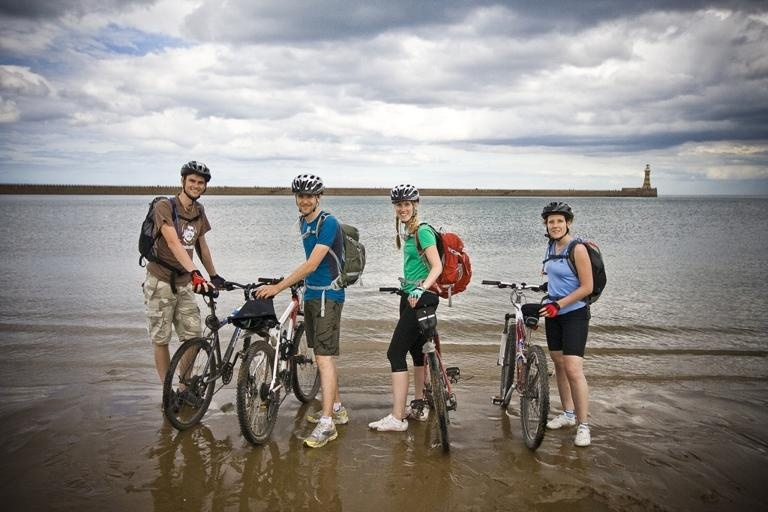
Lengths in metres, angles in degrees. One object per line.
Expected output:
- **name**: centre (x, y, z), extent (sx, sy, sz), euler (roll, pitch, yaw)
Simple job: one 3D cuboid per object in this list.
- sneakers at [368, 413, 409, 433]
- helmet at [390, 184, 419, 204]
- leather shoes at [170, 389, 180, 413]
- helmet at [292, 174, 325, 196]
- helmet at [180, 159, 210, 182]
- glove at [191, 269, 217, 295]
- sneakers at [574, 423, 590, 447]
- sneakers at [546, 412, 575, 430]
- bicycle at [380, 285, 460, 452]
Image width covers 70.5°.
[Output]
- **sneakers**: centre (0.066, 2.628, 8.622), extent (0.499, 0.182, 0.265), euler (3, -5, 4)
- **helmet**: centre (0.314, -0.953, 8.335), extent (0.401, 0.288, 0.292), euler (1, 10, 0)
- **leather shoes**: centre (-3.126, 2.162, 8.138), extent (0.127, 0.498, 0.282), euler (-3, 11, -18)
- **helmet**: centre (-1.141, -1.061, 8.130), extent (0.434, 0.299, 0.235), euler (-1, 11, -11)
- **helmet**: centre (-2.931, -1.319, 8.478), extent (0.389, 0.304, 0.393), euler (-3, 11, -23)
- **glove**: centre (-2.753, 0.386, 8.271), extent (0.307, 0.183, 0.403), euler (15, 18, -46)
- **sneakers**: centre (2.999, 2.671, 8.218), extent (0.248, 0.306, 0.210), euler (3, 11, 11)
- **sneakers**: centre (2.707, 2.603, 8.656), extent (0.618, 0.258, 0.217), euler (1, 4, -2)
- **bicycle**: centre (0.648, 1.586, 8.291), extent (1.078, 2.454, 1.100), euler (0, 11, -5)
